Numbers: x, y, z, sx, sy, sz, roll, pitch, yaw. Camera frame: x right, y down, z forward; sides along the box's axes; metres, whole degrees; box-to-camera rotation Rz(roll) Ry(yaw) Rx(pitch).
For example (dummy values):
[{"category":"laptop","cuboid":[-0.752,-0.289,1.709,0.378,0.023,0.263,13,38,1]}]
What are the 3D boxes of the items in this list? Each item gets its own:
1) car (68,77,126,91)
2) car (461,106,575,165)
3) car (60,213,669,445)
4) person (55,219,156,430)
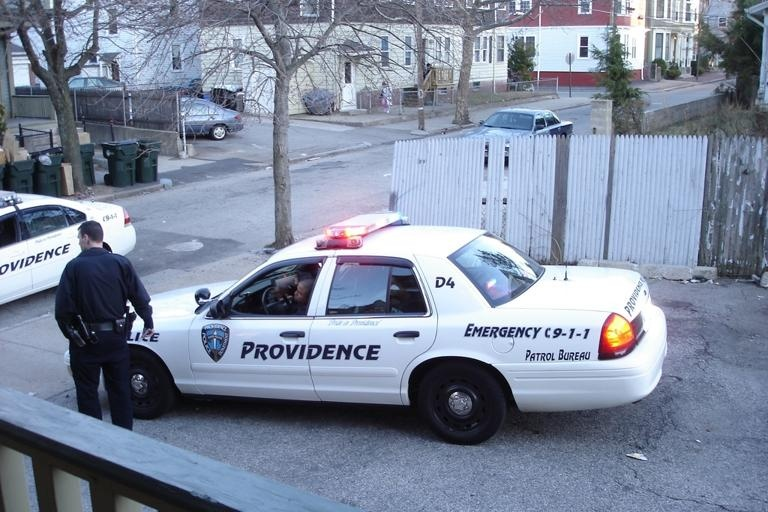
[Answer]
[{"category":"car","cuboid":[-13.588,-8.110,34.227,2.145,0.759,9.331,-9,14,-21]},{"category":"car","cuboid":[4.667,-4.547,25.177,4.367,0.926,2.082,-16,18,-43]},{"category":"car","cuboid":[-0.286,0.598,8.859,6.750,2.050,2.722,1,12,15]},{"category":"person","cuboid":[-2.902,0.860,7.669,0.794,1.872,0.464,-4,15,2]}]
